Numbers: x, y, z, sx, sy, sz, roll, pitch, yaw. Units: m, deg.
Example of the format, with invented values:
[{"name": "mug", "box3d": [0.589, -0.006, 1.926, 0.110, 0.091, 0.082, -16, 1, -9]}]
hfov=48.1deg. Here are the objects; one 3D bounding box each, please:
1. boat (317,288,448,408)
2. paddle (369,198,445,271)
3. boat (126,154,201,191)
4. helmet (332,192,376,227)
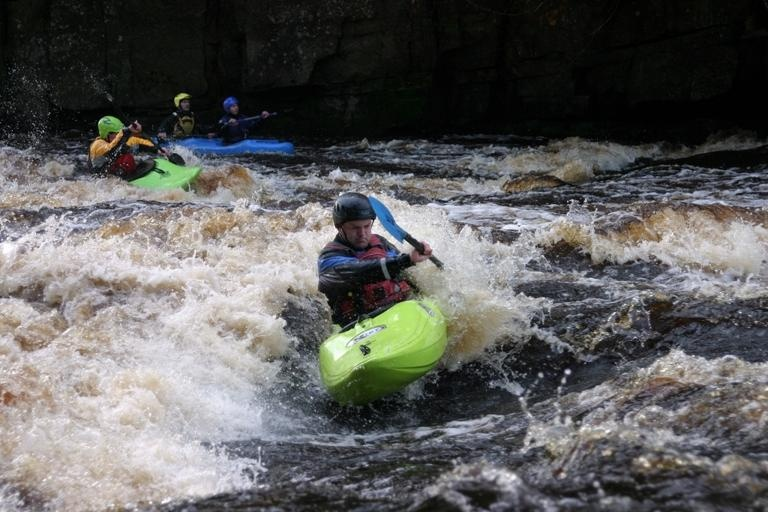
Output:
[{"name": "boat", "box3d": [0.046, 0.957, 8.666, 0.987, 0.456, 1.220, -20, 17, 22]}, {"name": "paddle", "box3d": [0.337, -0.119, 9.275, 0.064, 1.426, 0.308, -43, 13, 17]}, {"name": "boat", "box3d": [-3.497, -1.292, 13.798, 0.865, 0.432, 0.952, 4, 12, 15]}, {"name": "helmet", "box3d": [-0.330, -0.506, 9.350, 0.379, 0.362, 0.422, -12, -6, -17]}]
